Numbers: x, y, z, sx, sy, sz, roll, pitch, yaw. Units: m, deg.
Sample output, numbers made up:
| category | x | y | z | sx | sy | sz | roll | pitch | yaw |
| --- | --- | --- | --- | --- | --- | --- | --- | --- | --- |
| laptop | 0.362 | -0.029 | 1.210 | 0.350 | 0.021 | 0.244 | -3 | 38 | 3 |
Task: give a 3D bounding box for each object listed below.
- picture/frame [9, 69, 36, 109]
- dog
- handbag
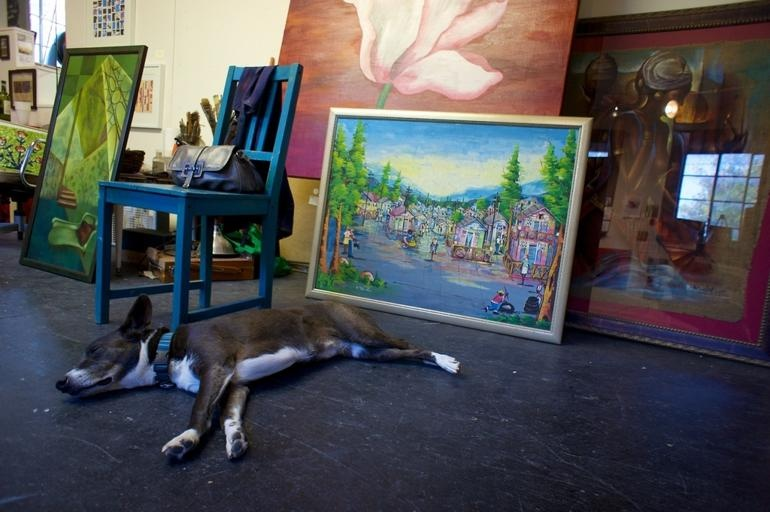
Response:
| category | x | y | z | sx | sy | sz | roll | pitch | yaw |
| --- | --- | --- | --- | --- | --- | --- | --- | --- | --- |
| picture/frame | -5.048 | -2.327 | 6.902 | 0.615 | 0.681 | 0.030 | 1 | 4 | 17 |
| dog | -0.750 | 0.584 | 2.851 | 1.893 | 0.663 | 0.767 | -1 | 9 | -34 |
| handbag | -1.213 | -0.555 | 3.567 | 0.571 | 0.239 | 0.368 | 10 | 15 | 11 |
